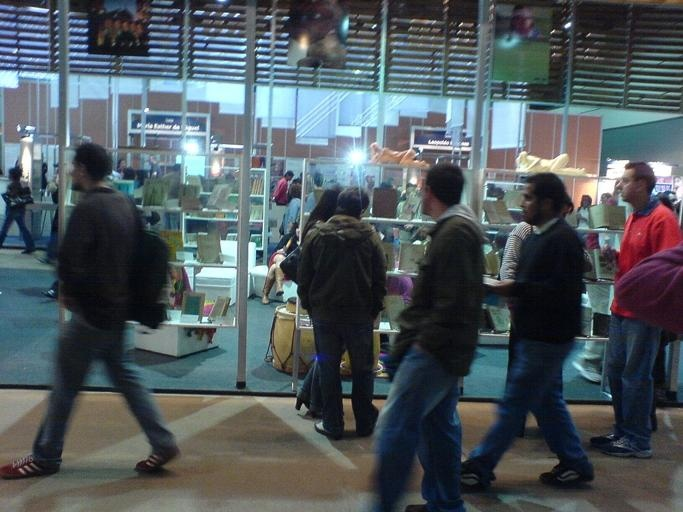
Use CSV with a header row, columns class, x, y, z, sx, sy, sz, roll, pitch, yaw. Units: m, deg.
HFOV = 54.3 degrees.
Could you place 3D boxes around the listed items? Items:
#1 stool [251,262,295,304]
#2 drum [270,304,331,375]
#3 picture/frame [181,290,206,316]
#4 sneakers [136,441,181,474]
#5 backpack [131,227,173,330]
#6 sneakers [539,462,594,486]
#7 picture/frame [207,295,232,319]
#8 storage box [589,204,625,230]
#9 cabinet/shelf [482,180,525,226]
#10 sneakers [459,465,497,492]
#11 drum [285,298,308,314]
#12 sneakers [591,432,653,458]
class,x,y,z,sx,sy,sz,roll,pitch,yaw
stool,-1.004,0.388,9.364,0.420,0.294,0.629,-11,18,-44
drum,-0.377,0.844,6.409,0.579,0.583,0.490,-2,-1,-8
picture/frame,-1.345,0.428,5.917,0.210,0.230,0.025,6,-12,-12
sneakers,-1.267,1.377,4.520,0.304,0.124,0.161,-10,6,-20
backpack,-1.273,0.154,4.390,0.214,0.650,0.234,4,14,3
sneakers,1.562,1.516,4.659,0.436,0.194,0.146,3,-6,5
picture/frame,-1.108,0.463,5.930,0.148,0.258,0.026,18,-22,14
storage box,2.375,-0.331,5.987,0.365,0.268,0.210,0,-2,-5
cabinet/shelf,1.461,-0.457,6.070,0.389,0.381,0.440,1,2,39
sneakers,0.901,1.519,4.541,0.342,0.149,0.115,-2,-1,-8
drum,-0.432,0.454,6.233,0.176,0.103,0.171,1,3,0
sneakers,2.126,1.460,5.076,0.448,0.187,0.163,6,-7,18
